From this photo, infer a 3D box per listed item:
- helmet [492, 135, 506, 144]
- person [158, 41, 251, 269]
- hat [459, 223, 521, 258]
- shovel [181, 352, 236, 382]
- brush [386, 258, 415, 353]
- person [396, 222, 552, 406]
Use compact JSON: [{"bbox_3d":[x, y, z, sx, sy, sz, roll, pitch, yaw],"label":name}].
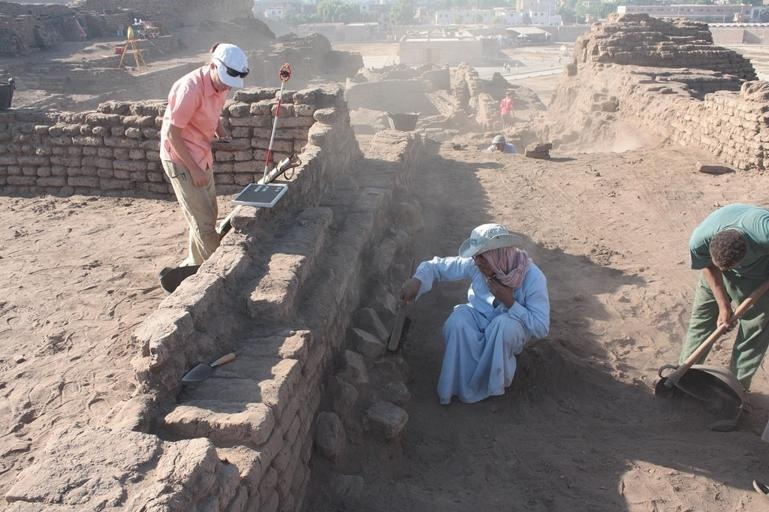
[{"bbox_3d":[2.454,-2.529,15.817,0.239,0.175,0.337,-2,1,19],"label":"helmet"},{"bbox_3d":[-2.321,-1.076,9.120,0.886,3.037,1.322,-14,31,-37],"label":"person"},{"bbox_3d":[1.188,-0.152,8.321,0.683,0.448,0.383,1,27,10],"label":"hat"},{"bbox_3d":[-1.804,1.136,7.487,0.195,0.058,0.652,23,26,25],"label":"shovel"},{"bbox_3d":[0.184,0.708,8.715,0.293,0.358,0.759,8,48,-5],"label":"brush"},{"bbox_3d":[1.128,0.611,8.403,1.426,1.885,1.037,-3,26,2],"label":"person"}]
